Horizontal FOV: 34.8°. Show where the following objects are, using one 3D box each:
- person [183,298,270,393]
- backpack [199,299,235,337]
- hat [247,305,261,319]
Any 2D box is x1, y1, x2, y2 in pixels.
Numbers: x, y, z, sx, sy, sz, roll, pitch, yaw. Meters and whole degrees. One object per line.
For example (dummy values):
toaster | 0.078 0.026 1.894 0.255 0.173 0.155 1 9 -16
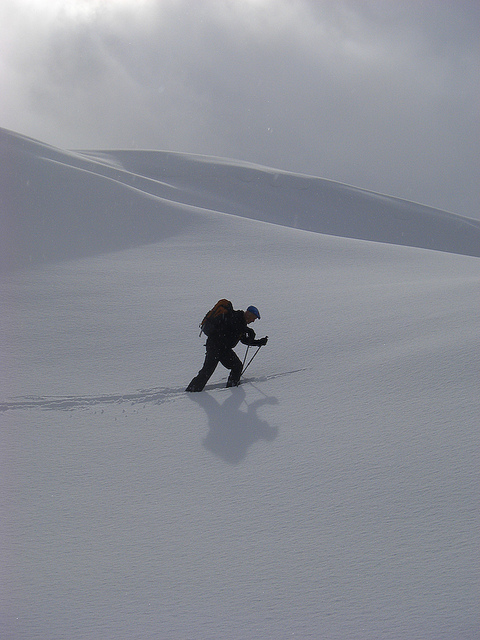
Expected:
person | -0.182 0.398 10.457 0.918 1.295 0.476 6 37 -12
backpack | -0.301 -0.016 9.208 0.245 0.513 0.453 38 65 4
hat | 0.183 -0.099 9.092 0.153 0.108 0.082 37 85 -20
